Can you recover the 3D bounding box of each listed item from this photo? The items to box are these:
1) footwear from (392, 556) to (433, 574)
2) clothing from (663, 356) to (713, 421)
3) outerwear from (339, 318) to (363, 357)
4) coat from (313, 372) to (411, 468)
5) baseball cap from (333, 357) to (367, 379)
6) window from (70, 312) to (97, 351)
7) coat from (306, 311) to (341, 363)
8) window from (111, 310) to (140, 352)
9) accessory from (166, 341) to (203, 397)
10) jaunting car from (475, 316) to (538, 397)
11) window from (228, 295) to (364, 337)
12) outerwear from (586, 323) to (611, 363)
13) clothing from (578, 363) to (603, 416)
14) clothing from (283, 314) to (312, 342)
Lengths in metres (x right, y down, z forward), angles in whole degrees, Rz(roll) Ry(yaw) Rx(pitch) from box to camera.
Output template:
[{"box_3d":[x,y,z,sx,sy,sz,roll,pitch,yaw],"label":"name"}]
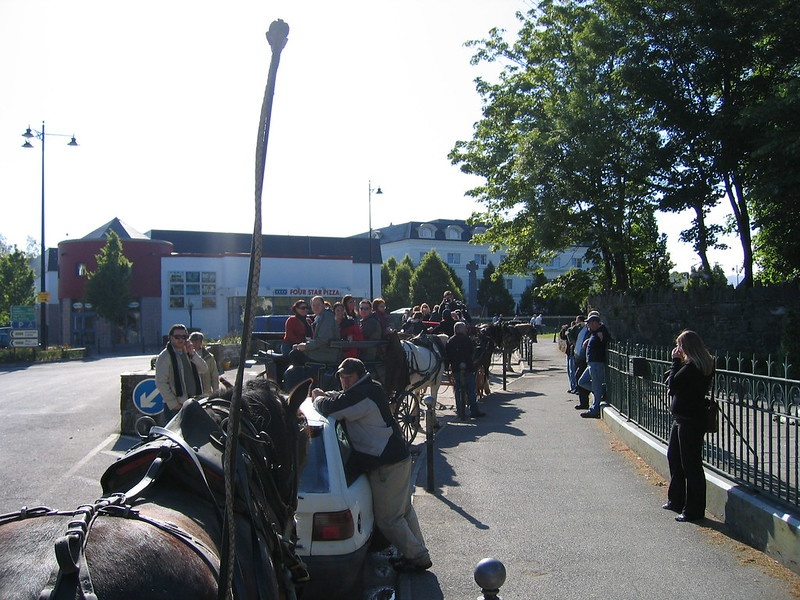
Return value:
[{"box_3d":[0.130,2.682,7.408,0.390,0.222,0.167,5,-3,3],"label":"footwear"},{"box_3d":[3.251,1.001,8.489,0.489,0.988,0.666,3,2,44],"label":"clothing"},{"box_3d":[-0.834,0.669,12.697,0.297,0.353,1.012,-7,40,-5],"label":"outerwear"},{"box_3d":[-0.375,1.302,7.746,0.716,0.980,0.837,-21,-5,10],"label":"coat"},{"box_3d":[-0.470,0.741,8.023,0.197,0.176,0.287,-8,-18,43],"label":"baseball cap"},{"box_3d":[-21.373,1.539,49.967,1.521,3.030,2.266,-7,46,-23],"label":"window"},{"box_3d":[-1.315,0.582,12.294,0.545,0.984,0.711,0,5,7],"label":"coat"},{"box_3d":[-18.424,1.795,49.984,2.135,3.105,0.092,-2,24,-27],"label":"window"},{"box_3d":[-3.011,0.982,10.279,0.159,0.684,0.446,-10,-11,28],"label":"accessory"},{"box_3d":[3.100,1.506,23.544,2.607,1.799,0.660,-3,11,-15],"label":"jaunting car"},{"box_3d":[-7.177,1.917,51.715,9.030,3.767,3.120,0,-31,-11],"label":"window"},{"box_3d":[4.104,0.955,15.079,0.468,1.008,0.942,2,-6,6],"label":"outerwear"},{"box_3d":[4.052,1.935,15.657,0.406,1.436,0.342,5,29,16],"label":"clothing"},{"box_3d":[-1.788,0.540,13.402,0.370,0.660,0.568,-3,-3,41],"label":"clothing"}]
